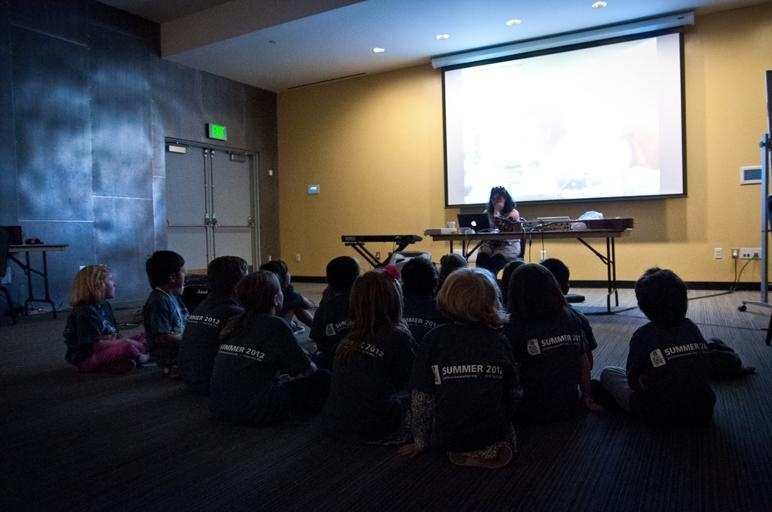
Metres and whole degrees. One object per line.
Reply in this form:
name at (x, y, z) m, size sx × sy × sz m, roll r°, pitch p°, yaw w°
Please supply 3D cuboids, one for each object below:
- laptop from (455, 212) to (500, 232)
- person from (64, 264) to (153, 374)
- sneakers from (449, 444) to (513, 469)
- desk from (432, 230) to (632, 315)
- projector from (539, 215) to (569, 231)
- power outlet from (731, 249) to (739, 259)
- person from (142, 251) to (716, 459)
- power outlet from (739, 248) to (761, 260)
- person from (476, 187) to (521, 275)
laptop at (1.115, -0.411, 5.899) m, size 0.412 × 0.210 × 0.379 m, roll 0°, pitch 10°, yaw 10°
person at (-2.412, 0.518, 4.354) m, size 0.769 × 1.067 × 0.959 m, roll 1°, pitch 1°, yaw -28°
sneakers at (0.524, 1.080, 2.618) m, size 0.359 × 0.145 × 0.123 m, roll 2°, pitch -2°, yaw 8°
desk at (1.694, 0.147, 5.716) m, size 2.029 × 0.852 × 0.637 m, roll -1°, pitch 6°, yaw 18°
projector at (1.924, -0.355, 5.401) m, size 0.311 × 0.128 × 0.219 m, roll 2°, pitch 11°, yaw 17°
power outlet at (4.993, -0.020, 6.829) m, size 0.095 × 0.133 × 0.041 m, roll 6°, pitch 13°, yaw 38°
person at (0.979, 0.544, 2.774) m, size 1.818 × 1.005 × 0.489 m, roll -3°, pitch 10°, yaw -10°
power outlet at (5.130, -0.029, 6.752) m, size 0.245 × 0.167 × 0.065 m, roll 3°, pitch 11°, yaw 23°
person at (1.409, -0.151, 6.044) m, size 0.524 × 1.414 × 0.759 m, roll 6°, pitch 14°, yaw 27°
